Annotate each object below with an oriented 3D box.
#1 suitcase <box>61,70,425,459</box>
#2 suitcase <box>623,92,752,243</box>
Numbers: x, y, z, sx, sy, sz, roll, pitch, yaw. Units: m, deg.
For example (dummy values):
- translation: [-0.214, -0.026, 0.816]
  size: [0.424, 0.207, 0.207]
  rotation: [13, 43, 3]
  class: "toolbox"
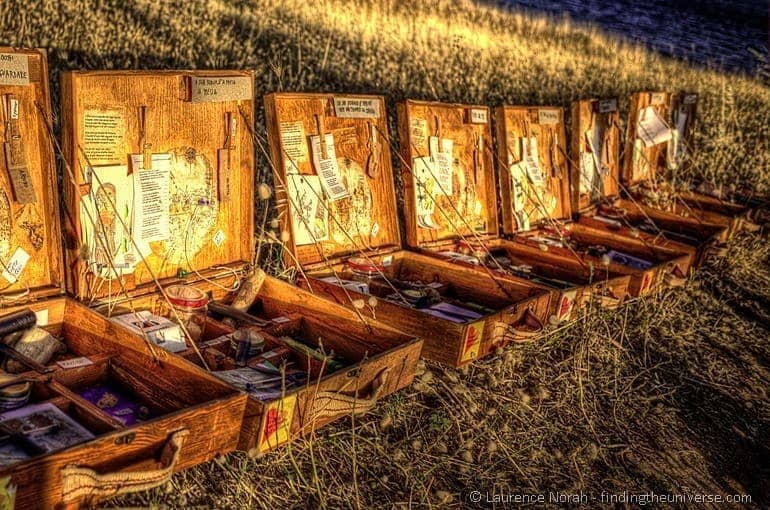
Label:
- translation: [-0.453, -0.281, 2.728]
  size: [1.281, 1.830, 1.635]
  rotation: [-13, 25, -43]
  class: "suitcase"
- translation: [2.066, -0.626, 4.398]
  size: [0.791, 1.156, 0.964]
  rotation: [-21, 28, -38]
  class: "suitcase"
